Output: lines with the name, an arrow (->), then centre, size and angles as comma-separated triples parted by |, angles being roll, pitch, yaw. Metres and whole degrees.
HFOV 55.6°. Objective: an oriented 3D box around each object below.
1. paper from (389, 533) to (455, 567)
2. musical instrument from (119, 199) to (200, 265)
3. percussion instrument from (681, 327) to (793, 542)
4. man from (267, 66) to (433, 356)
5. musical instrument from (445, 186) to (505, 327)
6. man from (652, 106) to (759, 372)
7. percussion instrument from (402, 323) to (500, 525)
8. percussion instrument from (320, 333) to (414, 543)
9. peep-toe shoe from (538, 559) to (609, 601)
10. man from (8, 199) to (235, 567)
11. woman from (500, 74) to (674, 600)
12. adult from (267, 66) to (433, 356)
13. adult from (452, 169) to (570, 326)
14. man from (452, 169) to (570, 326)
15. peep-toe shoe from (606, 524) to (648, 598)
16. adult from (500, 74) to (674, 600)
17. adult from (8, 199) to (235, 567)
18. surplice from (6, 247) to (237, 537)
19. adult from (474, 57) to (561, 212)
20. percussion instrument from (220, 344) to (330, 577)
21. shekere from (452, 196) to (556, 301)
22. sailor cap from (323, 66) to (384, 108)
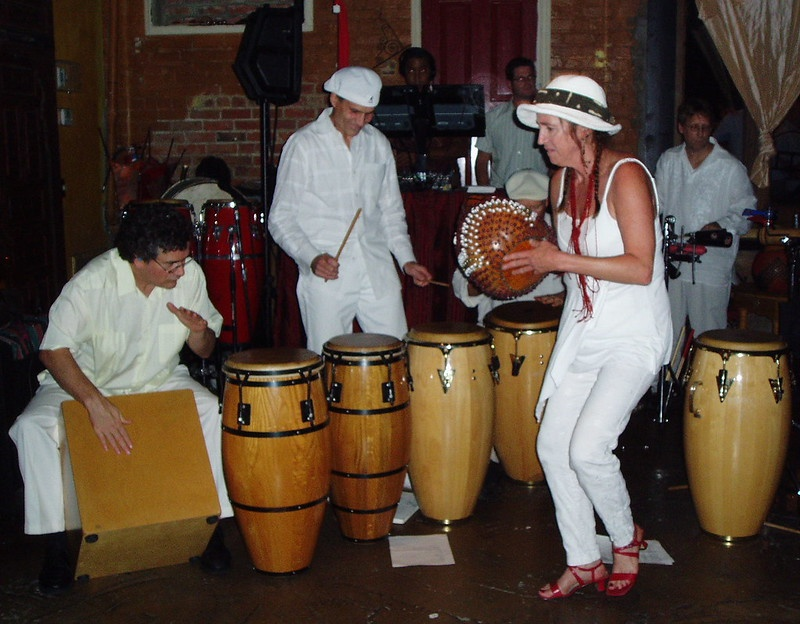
paper -> 0.098, 1.121, 3.542 | 0.289, 0.014, 0.276 | -1, 14, -5
musical instrument -> -1.066, -0.368, 3.404 | 0.297, 0.308, 0.317 | -3, 0, 24
percussion instrument -> 1.569, 0.604, 3.567 | 0.459, 0.961, 0.234 | 5, 15, 22
man -> -0.274, -0.509, 3.864 | 0.784, 1.420, 0.534 | -3, 14, -12
musical instrument -> 0.417, -0.355, 4.492 | 0.282, 0.860, 0.763 | -3, 41, -7
man -> 2.085, -0.388, 5.315 | 0.655, 1.952, 0.612 | 1, 22, 16
percussion instrument -> 0.242, 0.576, 3.735 | 0.427, 0.972, 0.196 | 1, 14, 4
percussion instrument -> -0.148, 0.621, 3.537 | 0.392, 0.956, 0.206 | -2, 14, -7
peep-toe shoe -> 0.737, 1.137, 3.261 | 0.339, 0.185, 0.135 | -6, 10, 6
man -> -1.275, 0.346, 3.542 | 0.945, 1.690, 0.942 | -2, 19, -23
woman -> 0.760, 0.132, 3.115 | 0.568, 2.137, 0.503 | 12, 18, 40
adult -> -0.277, -0.508, 3.862 | 0.771, 1.420, 0.516 | -4, 14, -15
adult -> 0.601, -0.318, 4.173 | 0.661, 0.858, 0.279 | 19, 7, -25
man -> 0.576, -0.344, 4.260 | 0.661, 0.858, 0.279 | 19, 7, -25
peep-toe shoe -> 0.955, 1.029, 3.236 | 0.111, 0.136, 0.341 | -6, 41, 43
adult -> 0.758, 0.132, 3.115 | 0.584, 2.137, 0.497 | 10, 17, 36
adult -> -1.296, 0.345, 3.557 | 0.986, 1.707, 0.944 | -3, 19, -27
surplice -> -1.306, 0.294, 3.545 | 0.986, 1.530, 0.875 | -5, 24, -37
adult -> 0.927, -1.239, 6.025 | 0.554, 1.448, 0.360 | -1, 40, 2
percussion instrument -> -0.535, 0.678, 3.315 | 0.460, 0.953, 0.276 | -4, 14, -14
shekere -> 0.394, -0.288, 3.398 | 0.443, 0.456, 0.289 | -14, 40, -19
sailor cap -> -0.253, -1.116, 3.788 | 0.247, 0.127, 0.198 | 31, 38, 32
